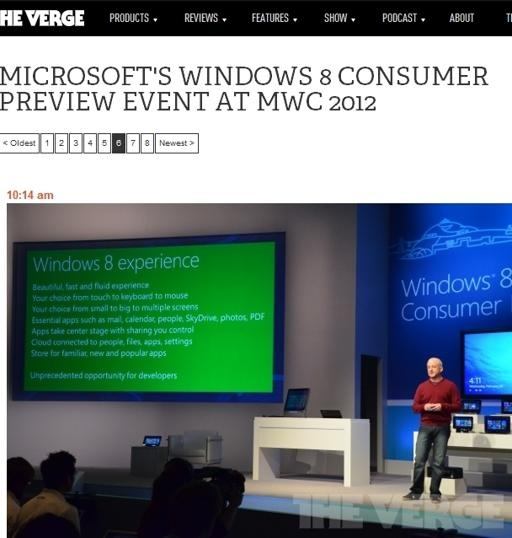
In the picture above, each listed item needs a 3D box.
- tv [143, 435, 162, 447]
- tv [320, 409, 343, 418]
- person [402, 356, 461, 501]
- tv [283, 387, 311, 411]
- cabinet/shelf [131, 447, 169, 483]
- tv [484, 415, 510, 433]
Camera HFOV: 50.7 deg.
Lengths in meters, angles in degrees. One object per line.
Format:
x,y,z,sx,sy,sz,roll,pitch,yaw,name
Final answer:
-1.195,1.989,6.226,0.239,0.114,0.098,-5,-11,23,tv
0.800,1.556,5.770,0.209,0.080,0.348,-1,-11,6,tv
1.523,1.413,4.716,0.503,1.236,0.244,-5,-10,28,person
0.464,1.488,6.091,0.278,0.258,0.271,-6,-11,28,tv
-1.212,2.234,6.256,0.356,0.407,0.379,-3,-13,14,cabinet/shelf
2.591,1.682,5.813,0.272,0.222,0.162,-4,-14,21,tv
